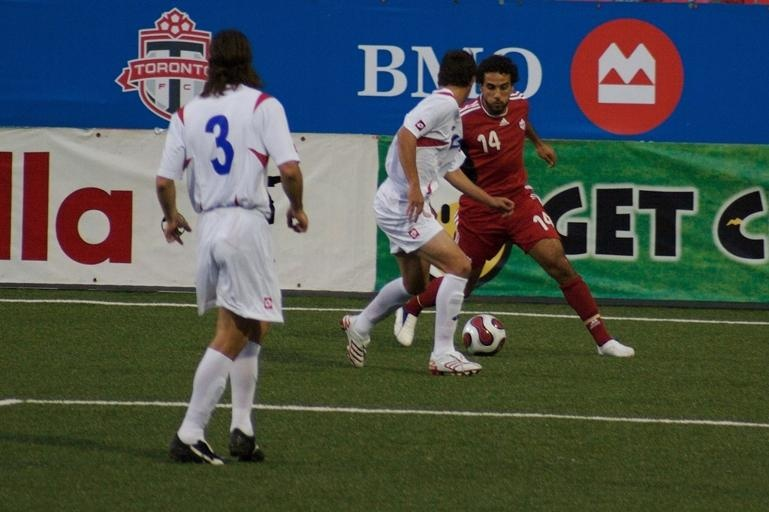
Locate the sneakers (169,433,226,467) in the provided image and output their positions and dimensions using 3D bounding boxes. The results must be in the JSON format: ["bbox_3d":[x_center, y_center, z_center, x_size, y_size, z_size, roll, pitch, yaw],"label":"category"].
[{"bbox_3d":[-1.566,1.604,11.077,0.500,0.240,0.188,8,3,-9],"label":"sneakers"}]

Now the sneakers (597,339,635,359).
[{"bbox_3d":[2.388,0.928,13.627,0.313,0.149,0.178,0,10,11],"label":"sneakers"}]

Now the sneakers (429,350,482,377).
[{"bbox_3d":[0.672,1.020,12.774,0.452,0.209,0.229,-1,3,9],"label":"sneakers"}]

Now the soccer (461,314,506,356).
[{"bbox_3d":[1.025,0.772,13.649,0.380,0.430,0.393,0,7,-6],"label":"soccer"}]

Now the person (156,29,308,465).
[{"bbox_3d":[-1.247,-0.096,11.123,1.210,3.439,0.963,-1,13,-10],"label":"person"}]

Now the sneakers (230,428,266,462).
[{"bbox_3d":[-1.157,1.571,11.105,0.322,0.193,0.133,35,2,-39],"label":"sneakers"}]

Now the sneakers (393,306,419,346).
[{"bbox_3d":[0.238,0.744,13.912,0.175,0.475,0.203,-3,-5,-37],"label":"sneakers"}]

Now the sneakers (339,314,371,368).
[{"bbox_3d":[-0.280,0.856,13.147,0.262,0.577,0.200,-4,10,17],"label":"sneakers"}]
